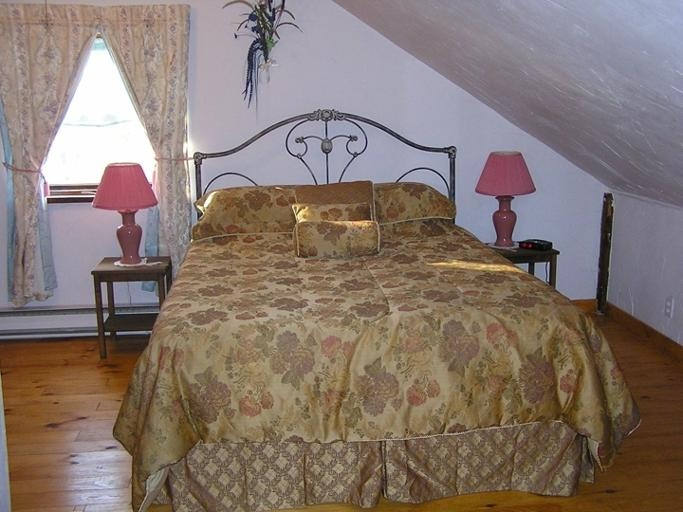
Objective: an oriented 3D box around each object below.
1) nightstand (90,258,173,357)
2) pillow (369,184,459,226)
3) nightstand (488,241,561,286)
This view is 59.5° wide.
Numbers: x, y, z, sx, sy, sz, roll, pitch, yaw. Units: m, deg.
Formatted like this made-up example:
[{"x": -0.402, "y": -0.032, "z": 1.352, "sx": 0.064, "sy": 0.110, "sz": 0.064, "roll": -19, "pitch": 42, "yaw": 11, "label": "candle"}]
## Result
[{"x": -1.456, "y": 0.347, "z": 4.182, "sx": 0.524, "sy": 0.611, "sz": 0.485, "roll": -5, "pitch": 10, "yaw": -29, "label": "nightstand"}, {"x": 0.449, "y": -0.362, "z": 3.978, "sx": 0.321, "sy": 0.107, "sz": 0.384, "roll": -3, "pitch": 19, "yaw": -6, "label": "pillow"}, {"x": 1.328, "y": 0.034, "z": 4.408, "sx": 0.323, "sy": 0.452, "sz": 0.458, "roll": -3, "pitch": 13, "yaw": -9, "label": "nightstand"}]
